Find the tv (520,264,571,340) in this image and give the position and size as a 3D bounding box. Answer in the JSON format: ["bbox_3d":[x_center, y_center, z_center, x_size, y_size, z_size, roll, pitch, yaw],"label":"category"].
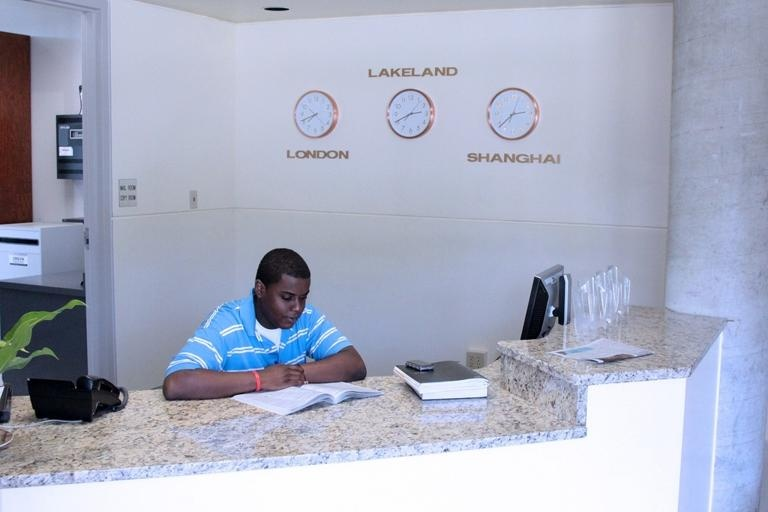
[{"bbox_3d":[0.926,0.256,3.369,0.253,0.447,0.499,7,7,27],"label":"tv"}]

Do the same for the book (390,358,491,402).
[{"bbox_3d":[0.291,0.581,2.806,0.440,0.126,0.271,-2,4,-7],"label":"book"}]

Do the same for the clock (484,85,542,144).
[{"bbox_3d":[1.053,-1.118,4.827,0.405,0.414,0.410,2,6,17],"label":"clock"}]

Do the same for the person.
[{"bbox_3d":[-0.585,0.308,2.920,0.958,0.669,0.448,-4,5,-22],"label":"person"}]

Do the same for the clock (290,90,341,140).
[{"bbox_3d":[-0.574,-1.241,5.212,0.394,0.400,0.070,-10,-1,23],"label":"clock"}]

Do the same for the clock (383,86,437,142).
[{"bbox_3d":[0.229,-1.196,5.046,0.382,0.394,0.379,1,0,-1],"label":"clock"}]
